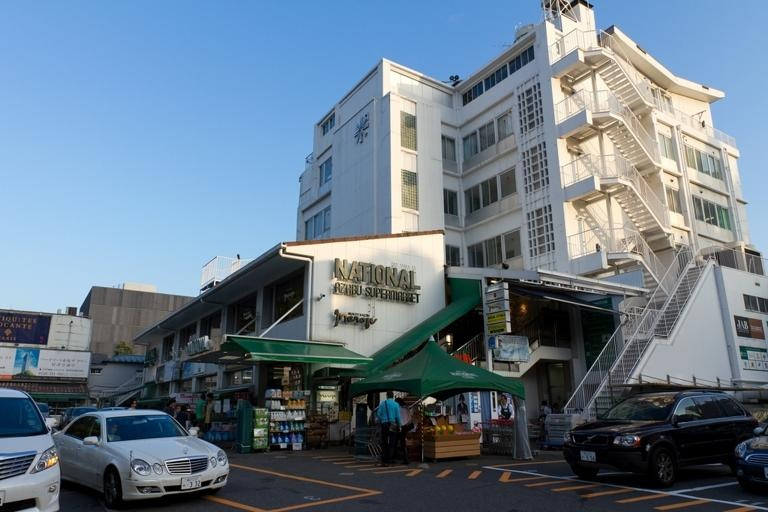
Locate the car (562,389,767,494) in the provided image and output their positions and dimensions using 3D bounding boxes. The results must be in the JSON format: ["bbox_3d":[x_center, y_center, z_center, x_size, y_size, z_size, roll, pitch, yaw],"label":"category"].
[{"bbox_3d":[7.432,4.841,15.496,4.796,2.260,1.550,2,-7,-21],"label":"car"}]

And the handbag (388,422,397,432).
[{"bbox_3d":[0.285,5.379,17.818,0.304,0.233,0.412,1,-23,-2],"label":"handbag"}]
